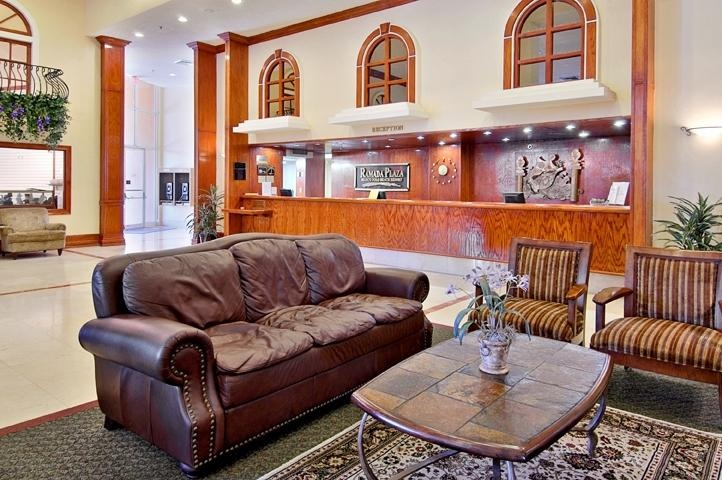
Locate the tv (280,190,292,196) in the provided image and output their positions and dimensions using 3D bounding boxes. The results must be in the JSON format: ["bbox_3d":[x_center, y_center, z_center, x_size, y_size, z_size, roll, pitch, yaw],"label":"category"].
[{"bbox_3d":[-1.687,-1.057,11.016,0.171,0.142,0.167,2,8,4],"label":"tv"}]

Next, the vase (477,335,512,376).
[{"bbox_3d":[0.978,0.826,3.658,0.270,0.261,0.282,0,1,26],"label":"vase"}]

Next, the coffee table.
[{"bbox_3d":[0.809,1.059,3.337,1.101,0.663,1.514,3,8,38],"label":"coffee table"}]

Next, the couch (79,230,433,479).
[{"bbox_3d":[-0.831,0.967,3.959,0.811,0.847,1.803,-2,0,40],"label":"couch"}]

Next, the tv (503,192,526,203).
[{"bbox_3d":[2.536,-0.704,8.195,0.307,0.295,0.100,-2,7,29],"label":"tv"}]
